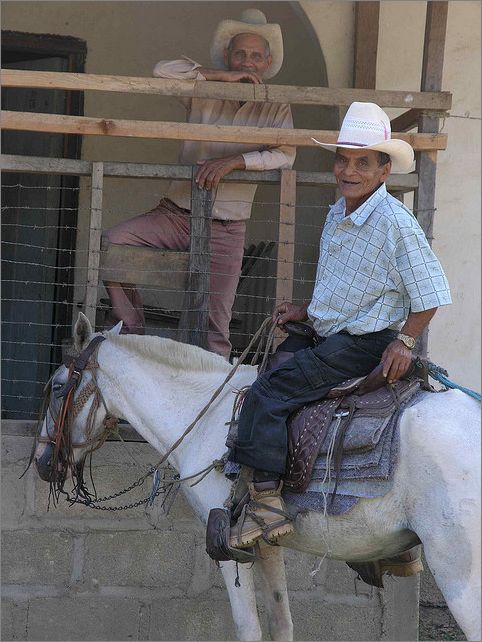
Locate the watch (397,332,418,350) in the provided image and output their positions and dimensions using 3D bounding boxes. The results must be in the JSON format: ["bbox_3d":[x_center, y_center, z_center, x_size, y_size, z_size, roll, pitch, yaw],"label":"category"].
[{"bbox_3d":[0.786,0.091,5.637,0.080,0.041,0.079,31,13,-26],"label":"watch"}]

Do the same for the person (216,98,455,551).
[{"bbox_3d":[0.489,0.021,5.844,0.981,2.188,0.704,5,10,-1],"label":"person"}]

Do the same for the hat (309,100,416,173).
[{"bbox_3d":[0.591,-0.947,5.917,0.546,0.249,0.633,5,1,14],"label":"hat"}]
